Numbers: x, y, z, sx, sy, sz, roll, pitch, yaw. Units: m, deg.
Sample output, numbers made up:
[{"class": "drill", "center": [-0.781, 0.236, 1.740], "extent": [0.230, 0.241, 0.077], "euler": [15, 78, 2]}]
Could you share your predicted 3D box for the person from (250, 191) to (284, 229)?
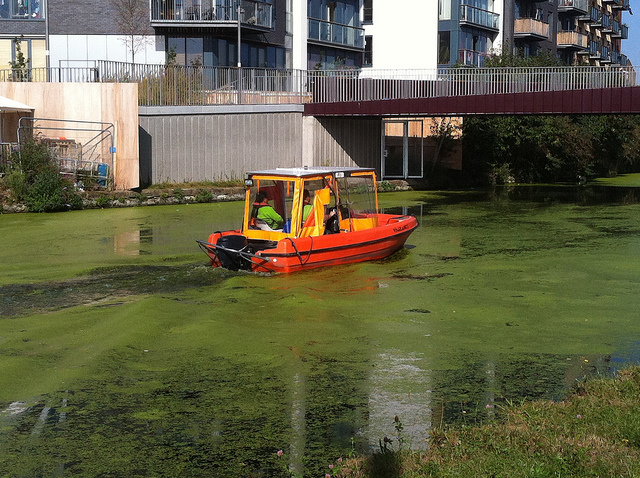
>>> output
[{"class": "person", "center": [-1.166, -0.608, 17.694], "extent": [0.760, 0.951, 0.644], "euler": [8, 14, 31]}]

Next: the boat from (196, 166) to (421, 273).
[{"class": "boat", "center": [-0.009, -0.412, 18.317], "extent": [4.516, 1.817, 2.058], "euler": [-8, 9, -43]}]
